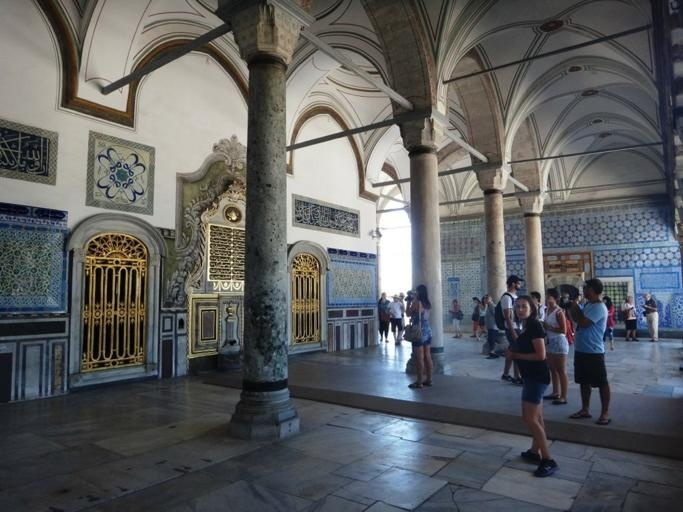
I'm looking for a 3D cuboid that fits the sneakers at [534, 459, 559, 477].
[{"bbox_3d":[1.922,2.003,4.216,0.262,0.126,0.108,-9,-22,-37],"label":"sneakers"}]

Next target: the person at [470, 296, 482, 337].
[{"bbox_3d":[4.830,2.246,16.063,0.401,1.552,1.346,0,-10,10],"label":"person"}]

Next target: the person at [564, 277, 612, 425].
[{"bbox_3d":[3.102,1.172,5.607,0.445,1.768,0.623,-2,-3,31],"label":"person"}]

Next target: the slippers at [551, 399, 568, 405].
[{"bbox_3d":[3.065,2.077,6.292,0.225,0.100,0.086,0,-8,3],"label":"slippers"}]

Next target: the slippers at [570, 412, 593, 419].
[{"bbox_3d":[3.032,2.035,5.648,0.251,0.078,0.105,1,-7,12],"label":"slippers"}]

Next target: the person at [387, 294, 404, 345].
[{"bbox_3d":[1.656,1.910,13.584,0.395,1.440,0.973,-1,-2,7],"label":"person"}]

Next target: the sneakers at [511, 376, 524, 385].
[{"bbox_3d":[2.916,2.084,7.402,0.103,0.118,0.260,-4,-10,16],"label":"sneakers"}]

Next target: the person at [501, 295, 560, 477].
[{"bbox_3d":[1.902,1.246,4.466,0.423,1.675,0.573,-1,-2,25],"label":"person"}]

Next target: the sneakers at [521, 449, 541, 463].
[{"bbox_3d":[1.909,2.027,4.522,0.079,0.092,0.192,4,-4,-35],"label":"sneakers"}]

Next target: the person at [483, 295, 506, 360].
[{"bbox_3d":[3.355,1.576,10.210,0.375,1.421,0.401,-1,-11,10],"label":"person"}]

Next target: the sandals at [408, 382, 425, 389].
[{"bbox_3d":[1.182,2.080,7.216,0.204,0.092,0.117,-1,-8,26],"label":"sandals"}]

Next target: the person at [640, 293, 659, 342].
[{"bbox_3d":[10.084,1.971,14.505,0.430,1.499,1.865,-2,-3,34],"label":"person"}]

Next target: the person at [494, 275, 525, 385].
[{"bbox_3d":[2.997,1.279,7.752,0.491,1.846,0.580,-5,-9,42],"label":"person"}]

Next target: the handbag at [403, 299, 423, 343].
[{"bbox_3d":[1.130,1.076,7.080,0.208,0.675,0.256,1,-3,-33],"label":"handbag"}]

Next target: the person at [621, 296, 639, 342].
[{"bbox_3d":[9.165,1.992,14.145,0.315,1.422,1.023,-2,-3,33],"label":"person"}]
